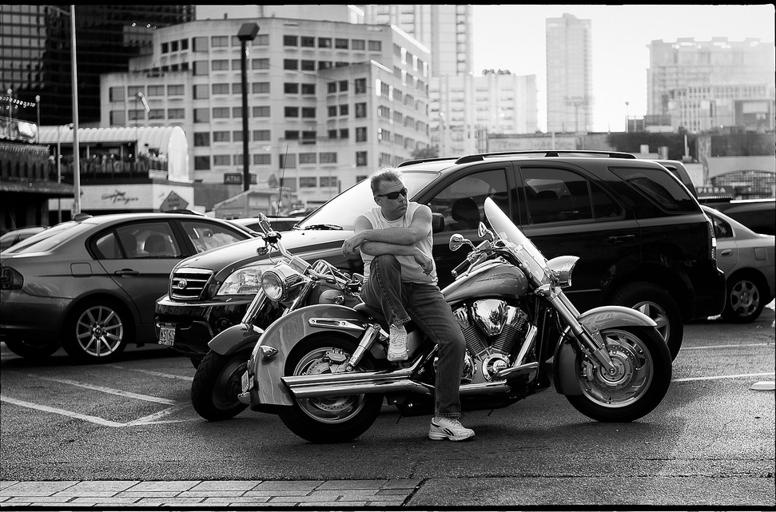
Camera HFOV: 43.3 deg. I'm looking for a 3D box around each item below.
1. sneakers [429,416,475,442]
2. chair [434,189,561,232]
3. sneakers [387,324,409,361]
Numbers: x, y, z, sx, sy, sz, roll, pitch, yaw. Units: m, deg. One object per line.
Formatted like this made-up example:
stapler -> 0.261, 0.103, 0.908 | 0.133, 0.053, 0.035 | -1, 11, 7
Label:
sneakers -> 0.644, 1.646, 9.328 | 0.448, 0.219, 0.197 | 1, 4, 3
chair -> 1.124, -0.515, 11.710 | 0.982, 0.488, 0.584 | 2, -2, -9
sneakers -> 0.121, 0.826, 9.198 | 0.143, 0.399, 0.186 | -2, -6, 2
